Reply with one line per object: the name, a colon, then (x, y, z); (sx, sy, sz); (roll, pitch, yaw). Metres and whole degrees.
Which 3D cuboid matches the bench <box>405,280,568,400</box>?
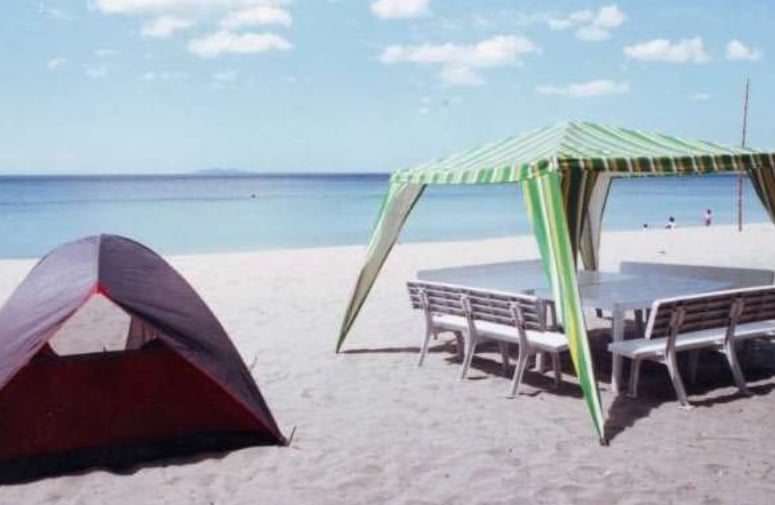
bench: (1.281, 0.984, 8.949); (0.760, 1.167, 2.102); (-9, 12, -39)
